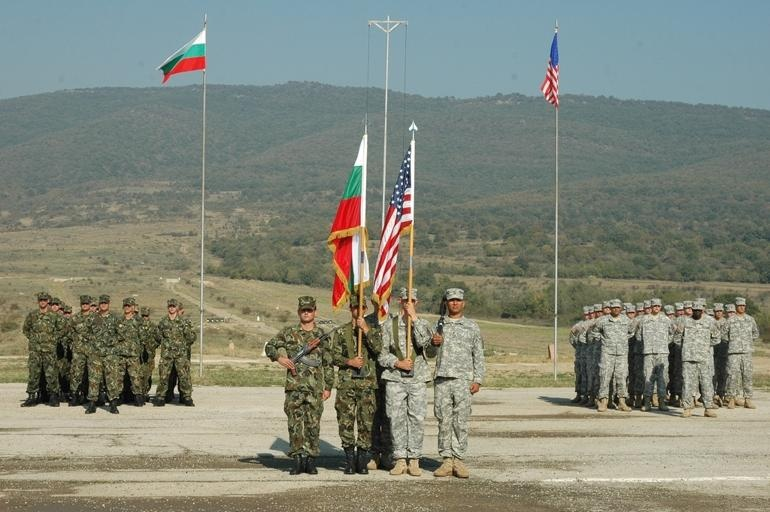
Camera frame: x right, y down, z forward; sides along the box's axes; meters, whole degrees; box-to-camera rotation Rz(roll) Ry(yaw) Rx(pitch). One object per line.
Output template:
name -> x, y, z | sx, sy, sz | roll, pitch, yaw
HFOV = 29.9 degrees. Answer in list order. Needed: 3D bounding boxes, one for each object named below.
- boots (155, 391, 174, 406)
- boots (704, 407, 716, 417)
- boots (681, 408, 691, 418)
boots -> -14.682, 9.441, 94.503 | 0.537, 0.651, 1.585 | -4, -16, 2
boots -> 21.225, 10.115, 93.748 | 0.854, 0.567, 0.750 | 0, 8, -14
boots -> 19.515, 10.237, 93.849 | 0.357, 0.650, 0.704 | -1, -13, 9
